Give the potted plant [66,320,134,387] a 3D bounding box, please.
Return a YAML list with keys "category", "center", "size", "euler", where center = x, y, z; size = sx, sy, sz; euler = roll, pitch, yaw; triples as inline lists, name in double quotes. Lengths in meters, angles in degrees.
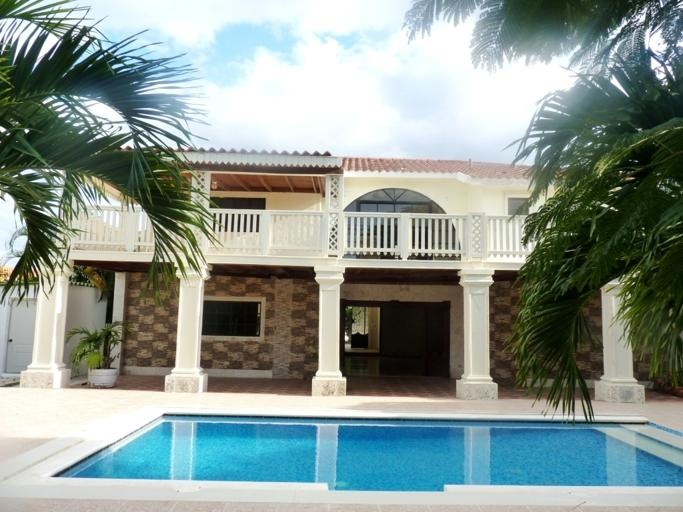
- category: "potted plant"
  center: [-5.899, 2.523, 13.140]
  size: [1.746, 1.521, 1.729]
  euler: [5, -20, -26]
